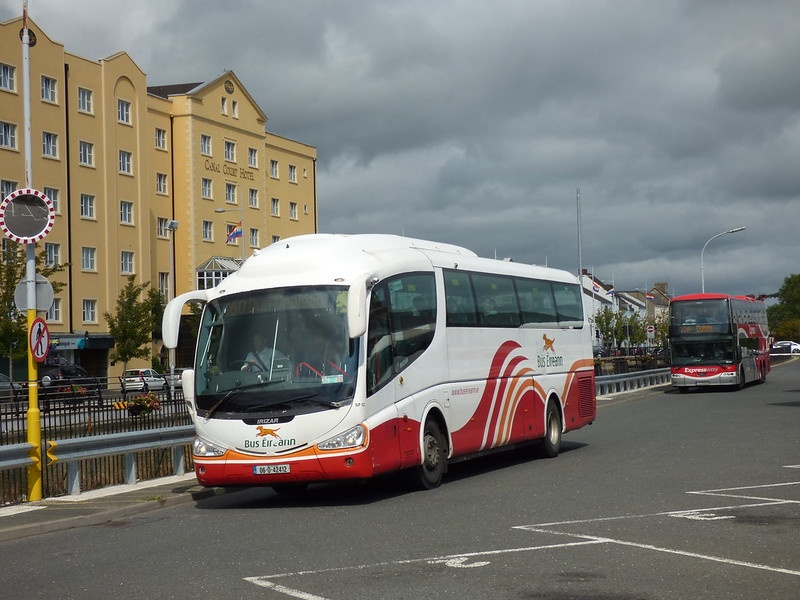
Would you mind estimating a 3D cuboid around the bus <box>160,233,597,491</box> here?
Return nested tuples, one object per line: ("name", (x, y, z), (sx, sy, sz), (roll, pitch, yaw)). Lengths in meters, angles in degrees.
("bus", (0.423, 1.069, 16.430), (3.747, 4.403, 10.381), (-5, -7, 30))

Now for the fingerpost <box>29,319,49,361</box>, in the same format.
("fingerpost", (-6.039, 0.651, 13.526), (0.258, 0.741, 0.435), (0, -2, -22))

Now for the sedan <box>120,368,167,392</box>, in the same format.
("sedan", (-15.037, 4.697, 47.465), (1.373, 1.063, 2.190), (-1, 0, 28))

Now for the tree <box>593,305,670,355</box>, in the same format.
("tree", (32.306, 4.191, 114.516), (5.887, 5.081, 6.444), (5, -7, -38))

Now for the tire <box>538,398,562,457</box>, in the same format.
("tire", (3.205, 2.752, 17.424), (0.336, 1.097, 1.021), (-5, -14, 23))

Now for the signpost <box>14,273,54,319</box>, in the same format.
("signpost", (-6.327, -0.136, 13.984), (0.570, 0.680, 0.676), (0, -3, -28))

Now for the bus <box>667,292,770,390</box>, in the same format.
("bus", (14.707, 1.982, 37.753), (3.548, 5.211, 10.405), (-2, -5, 28))
